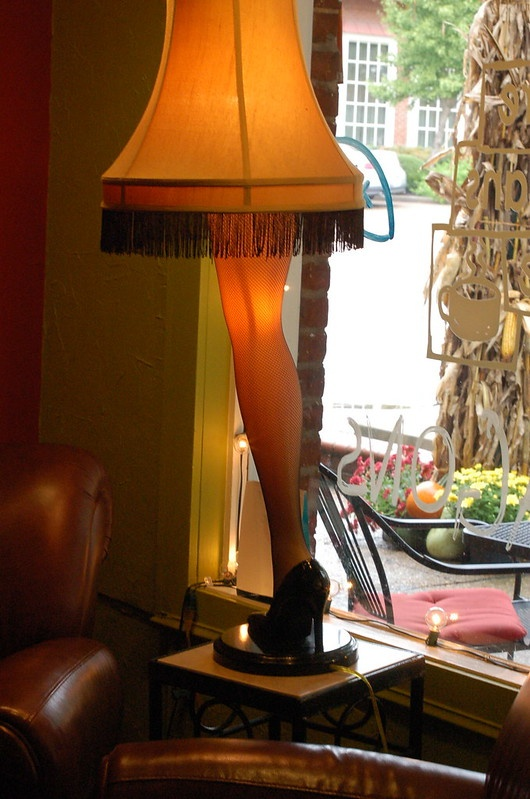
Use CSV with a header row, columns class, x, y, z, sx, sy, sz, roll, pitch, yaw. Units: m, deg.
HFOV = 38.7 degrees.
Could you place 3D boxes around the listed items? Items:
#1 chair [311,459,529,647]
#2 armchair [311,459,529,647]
class,x,y,z,sx,sy,sz,roll,pitch,yaw
chair,0.299,0.294,1.548,0.303,0.454,0.289,-5,10,-3
armchair,0.300,0.319,1.531,0.303,0.454,0.289,-5,10,-3
